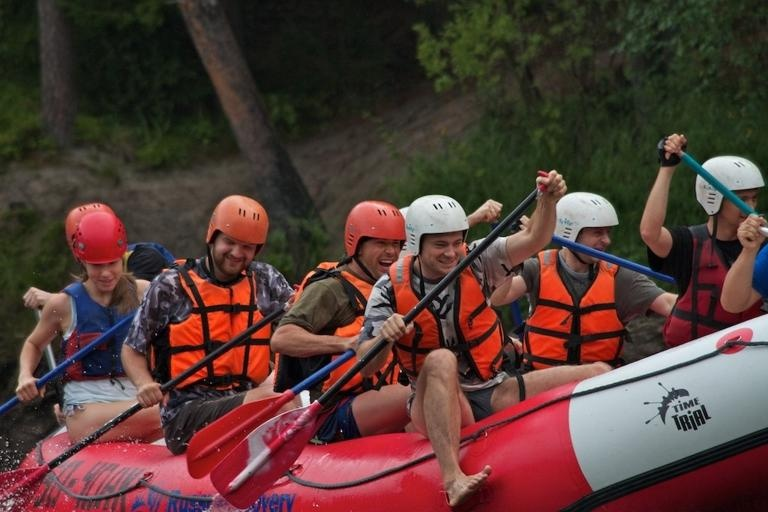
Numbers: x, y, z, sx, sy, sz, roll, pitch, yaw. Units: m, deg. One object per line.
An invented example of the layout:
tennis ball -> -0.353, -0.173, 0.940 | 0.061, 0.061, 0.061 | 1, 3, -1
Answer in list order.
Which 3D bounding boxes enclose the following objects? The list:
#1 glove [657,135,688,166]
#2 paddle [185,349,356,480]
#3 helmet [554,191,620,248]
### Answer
glove -> 2.675, -0.992, 11.020 | 0.217, 0.335, 0.103 | 6, 3, 2
paddle -> -1.028, 1.378, 11.192 | 2.092, 0.507, 0.145 | -35, 50, -29
helmet -> 1.944, -0.459, 11.794 | 0.593, 0.539, 0.515 | 1, 28, 5
